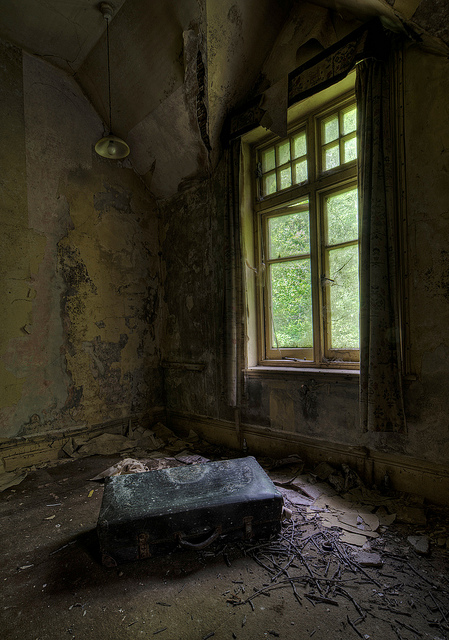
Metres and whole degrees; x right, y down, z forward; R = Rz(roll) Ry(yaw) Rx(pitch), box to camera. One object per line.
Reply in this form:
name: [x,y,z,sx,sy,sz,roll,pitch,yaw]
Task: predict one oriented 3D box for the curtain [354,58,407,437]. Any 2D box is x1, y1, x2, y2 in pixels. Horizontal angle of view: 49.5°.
curtain: [0.980,-0.465,3.067,0.284,2.309,0.611,0,13,13]
